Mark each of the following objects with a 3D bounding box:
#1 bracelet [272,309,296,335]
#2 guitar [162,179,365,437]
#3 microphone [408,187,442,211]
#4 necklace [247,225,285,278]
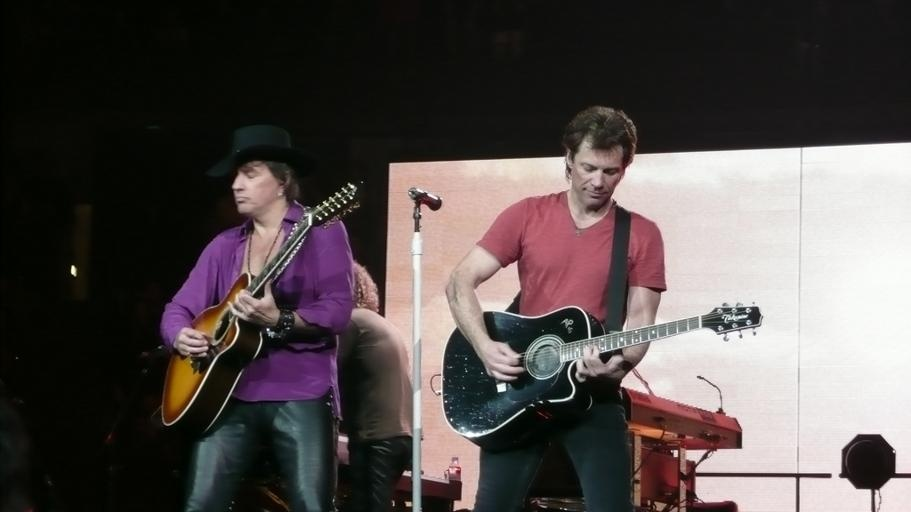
[{"bbox_3d":[-1.142,0.445,6.428,0.159,0.162,0.069,5,-7,-9],"label":"bracelet"},{"bbox_3d":[-1.404,0.370,6.510,1.181,1.647,0.188,2,-7,16],"label":"guitar"},{"bbox_3d":[-0.204,-0.398,7.001,0.238,0.091,0.140,23,16,-34],"label":"microphone"},{"bbox_3d":[-1.315,-0.028,6.686,0.199,0.393,0.061,40,17,30],"label":"necklace"}]
